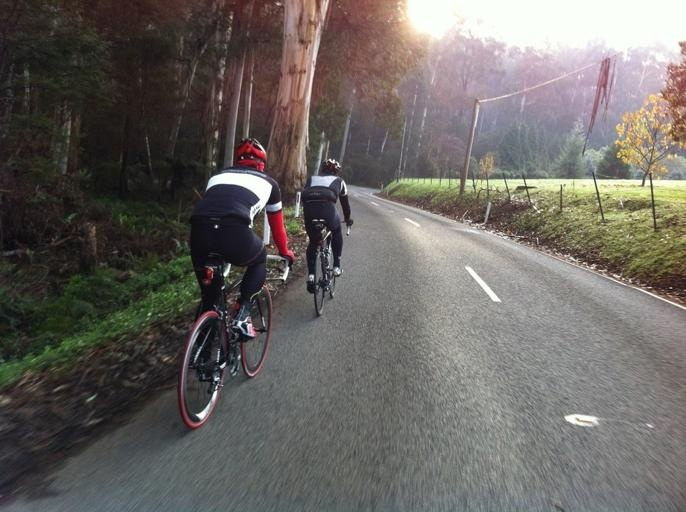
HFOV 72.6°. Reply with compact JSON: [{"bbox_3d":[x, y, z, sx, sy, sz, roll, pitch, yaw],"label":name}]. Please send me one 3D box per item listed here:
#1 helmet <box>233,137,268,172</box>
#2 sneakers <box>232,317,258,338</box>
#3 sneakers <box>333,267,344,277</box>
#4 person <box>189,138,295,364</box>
[{"bbox_3d":[-1.075,-1.202,5.404,0.267,0.268,0.243,29,-29,-4],"label":"helmet"},{"bbox_3d":[-1.069,0.802,5.122,0.257,0.213,0.146,15,22,25],"label":"sneakers"},{"bbox_3d":[-0.104,0.256,8.045,0.074,0.112,0.228,0,15,12],"label":"sneakers"},{"bbox_3d":[-1.158,-0.142,5.230,1.079,2.330,0.655,-3,10,-30],"label":"person"}]
